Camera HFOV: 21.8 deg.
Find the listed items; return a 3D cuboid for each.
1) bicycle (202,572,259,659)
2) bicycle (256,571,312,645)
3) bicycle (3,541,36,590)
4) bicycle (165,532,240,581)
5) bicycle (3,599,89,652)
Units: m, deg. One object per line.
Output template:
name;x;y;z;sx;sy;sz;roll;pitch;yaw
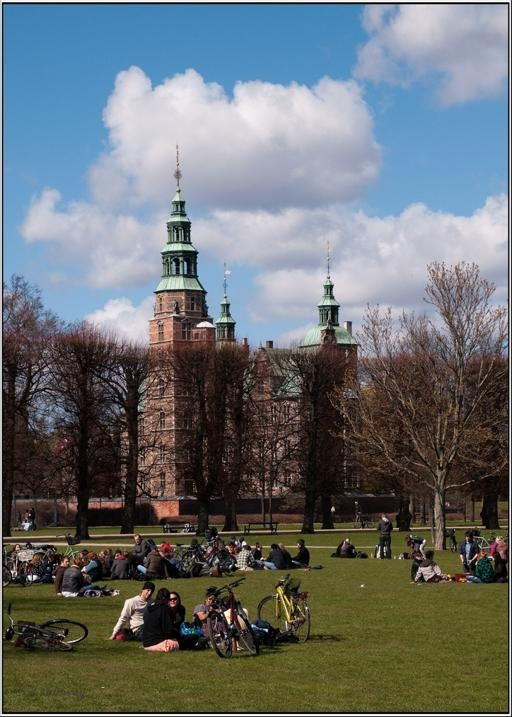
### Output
bicycle;-0.382;4.536;22.730;0.646;0.808;1.349;-24;-10;9
bicycle;0.627;4.459;23.886;0.647;0.929;1.482;2;2;-24
bicycle;-6.102;5.198;33.230;0.625;0.774;1.245;9;-15;-44
bicycle;-1.538;5.347;35.429;1.938;1.182;0.819;-2;-11;-27
bicycle;-3.796;4.476;22.512;1.256;0.711;0.791;-1;-5;25
